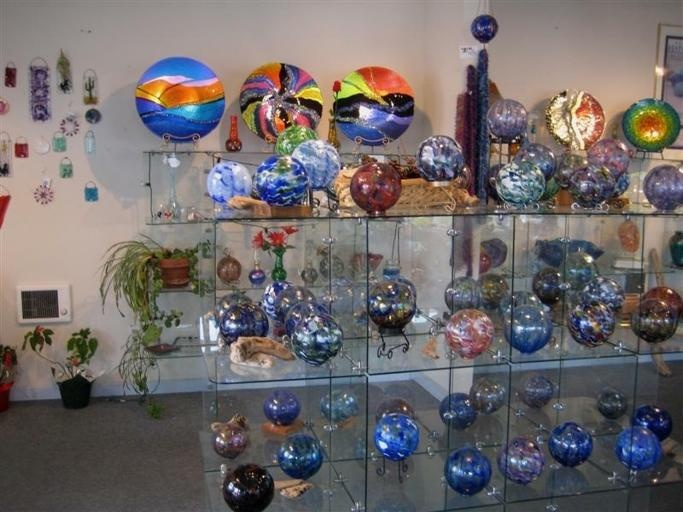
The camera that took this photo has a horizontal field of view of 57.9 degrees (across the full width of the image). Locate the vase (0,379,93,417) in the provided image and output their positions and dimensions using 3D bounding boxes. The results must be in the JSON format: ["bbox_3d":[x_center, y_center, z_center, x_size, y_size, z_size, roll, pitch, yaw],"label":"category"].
[{"bbox_3d":[-2.295,1.077,4.938,0.428,0.178,0.345,-2,-2,-16],"label":"vase"}]

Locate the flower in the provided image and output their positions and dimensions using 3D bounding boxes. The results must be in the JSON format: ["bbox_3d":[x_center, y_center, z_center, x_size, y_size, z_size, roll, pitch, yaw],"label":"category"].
[{"bbox_3d":[-2.354,0.795,4.989,0.750,0.451,0.261,-1,14,-7],"label":"flower"}]
